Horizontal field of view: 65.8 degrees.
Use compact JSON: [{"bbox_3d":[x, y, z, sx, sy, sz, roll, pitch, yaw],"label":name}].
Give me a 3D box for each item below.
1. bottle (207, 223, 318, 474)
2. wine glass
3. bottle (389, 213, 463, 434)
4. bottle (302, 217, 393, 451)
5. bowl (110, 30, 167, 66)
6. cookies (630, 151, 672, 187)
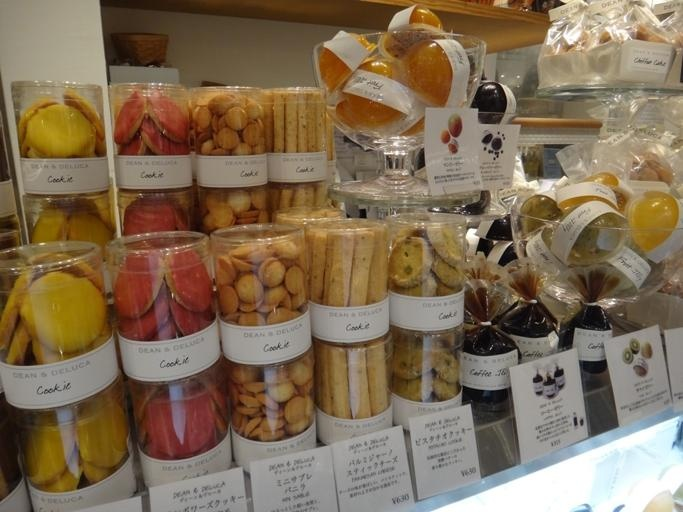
[{"bbox_3d":[-0.118,0.167,0.879,0.143,0.406,0.153,-1,3,0],"label":"bottle"},{"bbox_3d":[0.129,-0.281,1.134,0.336,0.361,0.343,-11,15,-38],"label":"wine glass"},{"bbox_3d":[0.155,0.112,0.925,0.152,0.344,0.116,-5,14,3],"label":"bottle"},{"bbox_3d":[0.017,0.139,0.932,0.152,0.415,0.164,-3,6,0],"label":"bottle"},{"bbox_3d":[-0.676,-0.676,1.747,0.133,0.086,0.137,1,19,0],"label":"bowl"},{"bbox_3d":[0.712,-0.198,1.213,0.097,0.071,0.047,-5,15,2],"label":"cookies"}]
